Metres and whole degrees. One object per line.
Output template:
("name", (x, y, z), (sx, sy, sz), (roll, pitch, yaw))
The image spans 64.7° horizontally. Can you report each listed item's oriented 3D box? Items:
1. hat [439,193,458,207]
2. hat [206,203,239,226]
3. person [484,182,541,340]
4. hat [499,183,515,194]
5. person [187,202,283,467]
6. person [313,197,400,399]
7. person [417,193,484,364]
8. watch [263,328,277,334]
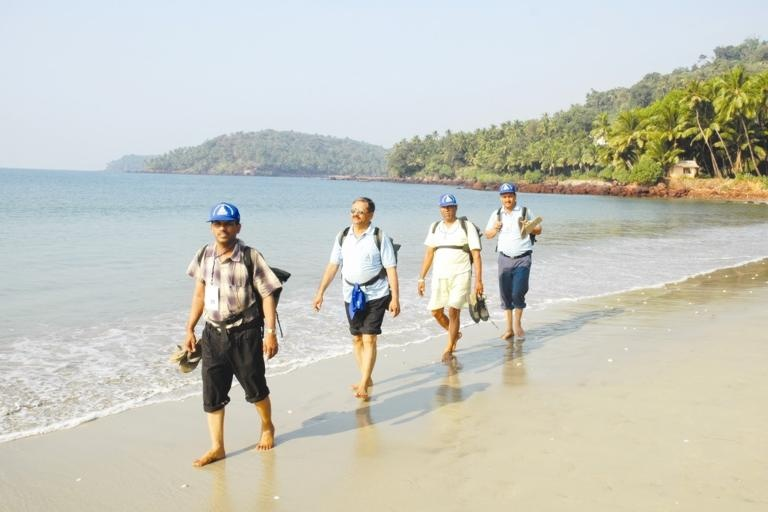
("hat", (0.841, -0.699, 7.944), (0.174, 0.120, 0.228), (-2, -6, 6))
("hat", (-1.457, -0.372, 5.611), (0.189, 0.140, 0.273), (-1, 3, 3))
("person", (1.968, 0.115, 9.266), (0.773, 2.474, 1.063), (2, 13, 15))
("hat", (1.802, -0.970, 8.846), (0.214, 0.170, 0.427), (1, 12, 13))
("person", (-1.419, 0.765, 5.741), (0.942, 2.477, 0.442), (-4, 13, -11))
("person", (-0.278, 0.518, 7.101), (0.838, 2.368, 0.682), (-6, 14, -18))
("person", (0.896, 0.355, 8.145), (0.795, 2.336, 0.880), (5, 15, 28))
("watch", (-1.068, 0.730, 5.705), (0.075, 0.045, 0.084), (1, -2, -15))
